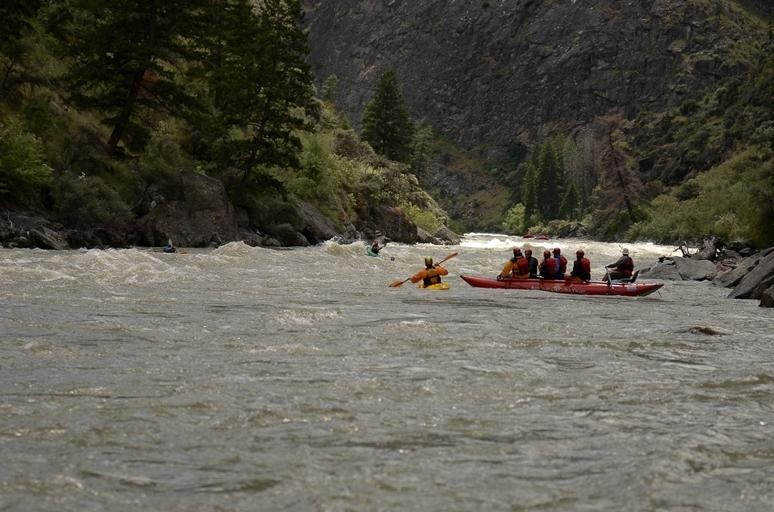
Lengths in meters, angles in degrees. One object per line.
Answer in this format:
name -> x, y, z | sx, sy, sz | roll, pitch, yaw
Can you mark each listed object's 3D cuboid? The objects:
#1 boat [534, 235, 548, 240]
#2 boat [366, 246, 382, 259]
boat -> 18.175, -2.143, 117.918 | 1.304, 0.548, 1.389 | 4, 5, 3
boat -> -0.827, -0.228, 65.761 | 0.953, 0.624, 1.488 | 3, 4, -6
